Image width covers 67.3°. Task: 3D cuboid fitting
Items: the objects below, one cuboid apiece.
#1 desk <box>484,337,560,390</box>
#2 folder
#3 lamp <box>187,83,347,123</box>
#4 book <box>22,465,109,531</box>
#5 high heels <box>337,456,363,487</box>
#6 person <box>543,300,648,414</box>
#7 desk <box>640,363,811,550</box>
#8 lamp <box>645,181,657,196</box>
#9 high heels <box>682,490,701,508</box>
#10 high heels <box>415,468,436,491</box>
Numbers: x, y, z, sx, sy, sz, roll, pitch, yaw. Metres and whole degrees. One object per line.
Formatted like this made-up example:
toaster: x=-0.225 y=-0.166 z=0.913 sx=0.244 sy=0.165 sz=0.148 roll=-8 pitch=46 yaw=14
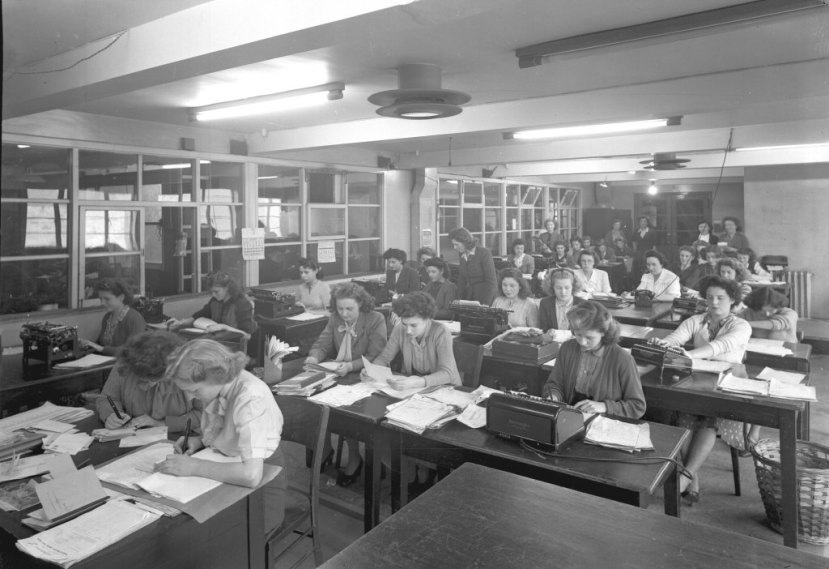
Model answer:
desk: x=0.714 y=0.532 z=4.310 sx=0.455 sy=0.426 sz=0.344 roll=6 pitch=10 yaw=35
folder: x=-1.002 y=0.850 z=2.729 sx=0.546 sy=0.043 sz=0.334 roll=9 pitch=11 yaw=30
lamp: x=-1.049 y=-1.314 z=4.515 sx=1.150 sy=0.207 sz=0.358 roll=2 pitch=6 yaw=23
book: x=-1.452 y=0.899 z=2.604 sx=0.259 sy=0.098 sz=0.186 roll=-25 pitch=53 yaw=-32
high heels: x=-0.418 y=1.236 z=4.068 sx=0.081 sy=0.084 sz=0.241 roll=-2 pitch=-6 yaw=21
person: x=1.074 y=0.455 z=3.790 sx=0.458 sy=0.718 sz=0.644 roll=-3 pitch=7 yaw=-35
desk: x=1.819 y=0.885 z=3.845 sx=1.017 sy=0.907 sz=0.916 roll=-2 pitch=-2 yaw=38
lamp: x=1.453 y=-0.582 z=3.816 sx=0.077 sy=0.099 sz=0.075 roll=0 pitch=-2 yaw=-2
high heels: x=1.677 y=1.300 z=3.775 sx=0.052 sy=0.055 sz=0.141 roll=-2 pitch=-8 yaw=9
high heels: x=0.073 y=1.269 z=4.079 sx=0.105 sy=0.131 sz=0.120 roll=-2 pitch=-7 yaw=28
